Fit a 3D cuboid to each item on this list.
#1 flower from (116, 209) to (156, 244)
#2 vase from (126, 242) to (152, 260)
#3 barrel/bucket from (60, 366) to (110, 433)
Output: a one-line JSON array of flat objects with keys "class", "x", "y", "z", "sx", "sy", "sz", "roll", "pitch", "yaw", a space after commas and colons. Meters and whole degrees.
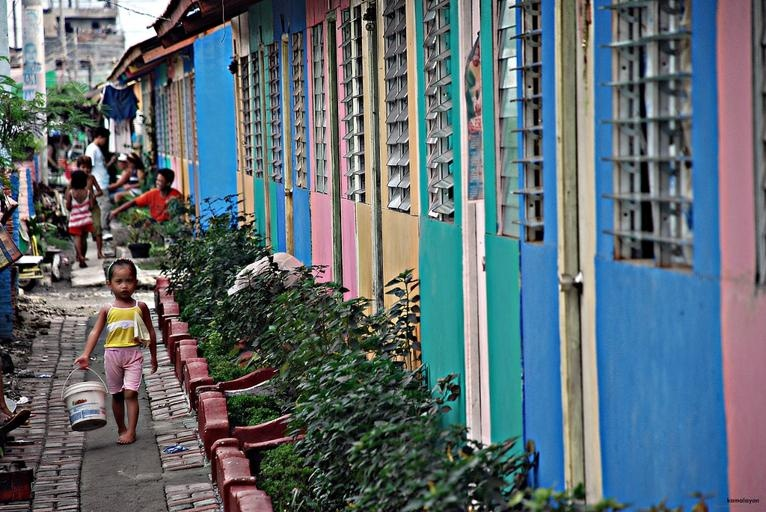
[{"class": "flower", "x": -4.161, "y": -0.469, "z": 19.437, "sx": 0.427, "sy": 0.403, "sz": 0.333, "roll": -19, "pitch": 3, "yaw": 37}, {"class": "vase", "x": -3.935, "y": -0.074, "z": 18.523, "sx": 0.259, "sy": 0.175, "sz": 0.267, "roll": -2, "pitch": 4, "yaw": -31}, {"class": "barrel/bucket", "x": -2.471, "y": 1.203, "z": 9.490, "sx": 0.362, "sy": 0.561, "sz": 0.355, "roll": 0, "pitch": 2, "yaw": 0}]
